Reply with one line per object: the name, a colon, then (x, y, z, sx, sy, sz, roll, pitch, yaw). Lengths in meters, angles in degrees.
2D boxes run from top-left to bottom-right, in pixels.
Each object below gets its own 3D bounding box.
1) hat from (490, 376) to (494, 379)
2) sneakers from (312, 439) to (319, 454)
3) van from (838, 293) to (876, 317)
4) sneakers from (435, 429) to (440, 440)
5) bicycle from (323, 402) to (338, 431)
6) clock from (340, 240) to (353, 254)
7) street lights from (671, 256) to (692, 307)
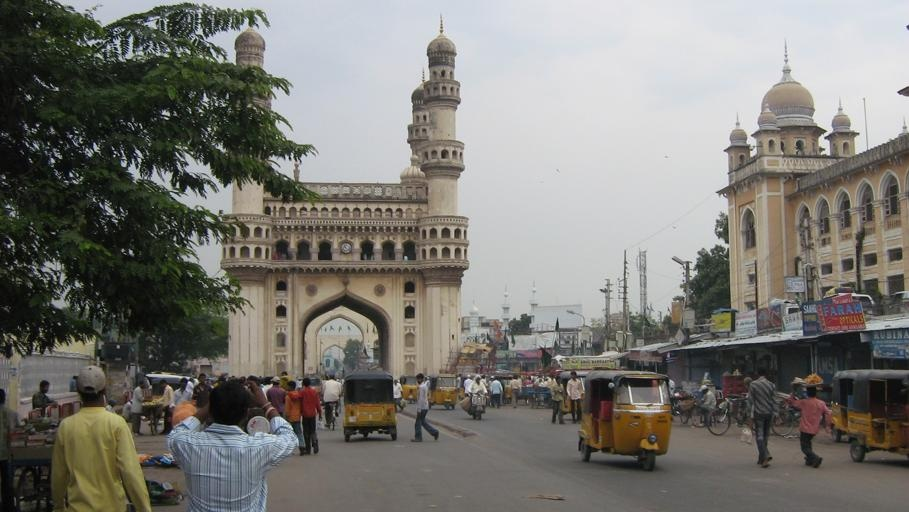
hat: (2.095, 6.490, 67.722, 0.183, 0.175, 0.322, 4, -4, 21)
sneakers: (-4.016, 5.528, 36.684, 0.145, 0.404, 0.176, 0, -7, -10)
van: (15.008, 1.885, 46.708, 1.208, 0.993, 1.934, 1, 3, 7)
sneakers: (-0.543, 5.586, 39.210, 0.109, 0.336, 0.146, -3, 10, -28)
bicycle: (-4.286, 5.493, 43.834, 0.702, 0.727, 1.233, 1, -2, -10)
clock: (-6.351, -0.515, 74.371, 0.703, 0.679, 0.675, -7, 38, -20)
street lights: (11.342, 1.178, 63.081, 0.937, 2.062, 0.440, 2, 5, 22)
